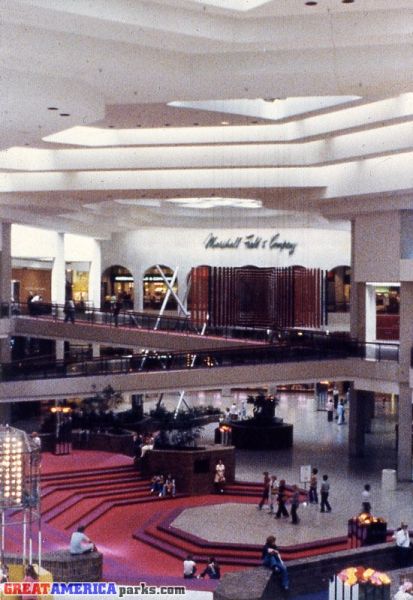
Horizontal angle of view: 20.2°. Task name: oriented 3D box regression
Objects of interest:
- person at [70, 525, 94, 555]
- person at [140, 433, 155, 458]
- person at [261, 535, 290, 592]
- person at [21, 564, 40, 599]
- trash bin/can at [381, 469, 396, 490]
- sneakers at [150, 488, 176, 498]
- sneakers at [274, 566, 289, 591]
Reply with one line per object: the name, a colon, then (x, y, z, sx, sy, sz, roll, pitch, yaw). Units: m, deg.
person: (-2.107, 3.997, 19.334, 0.415, 0.495, 0.760, 0, -6, 10)
person: (-1.417, 3.501, 27.507, 0.329, 0.510, 1.058, 1, -6, -2)
person: (0.996, 3.886, 17.255, 0.288, 0.871, 0.408, 12, -25, -31)
person: (-2.503, 4.006, 16.449, 0.217, 0.449, 0.710, 1, -6, -9)
trash bin/can: (4.098, 4.055, 26.244, 0.324, 0.484, 0.384, 1, 2, 17)
sneakers: (-0.947, 4.392, 26.280, 0.240, 0.154, 0.361, 2, -1, 16)
sneakers: (1.095, 4.076, 17.069, 0.191, 0.377, 0.093, -7, 6, 34)
